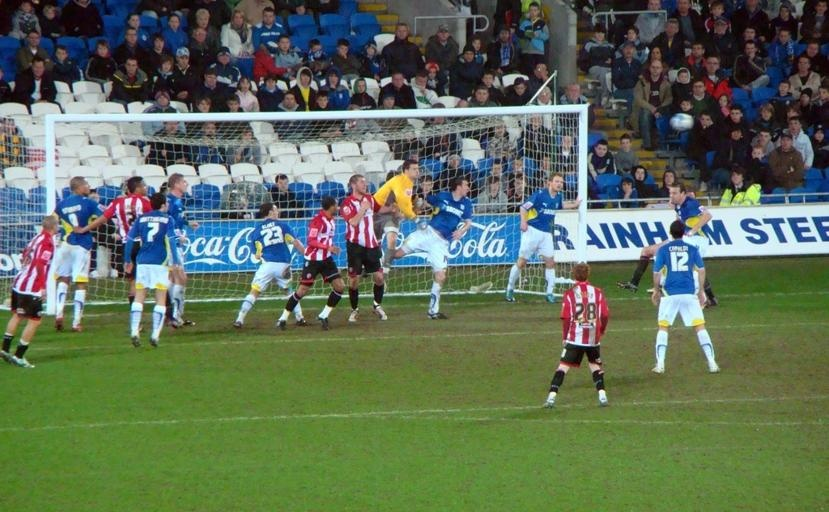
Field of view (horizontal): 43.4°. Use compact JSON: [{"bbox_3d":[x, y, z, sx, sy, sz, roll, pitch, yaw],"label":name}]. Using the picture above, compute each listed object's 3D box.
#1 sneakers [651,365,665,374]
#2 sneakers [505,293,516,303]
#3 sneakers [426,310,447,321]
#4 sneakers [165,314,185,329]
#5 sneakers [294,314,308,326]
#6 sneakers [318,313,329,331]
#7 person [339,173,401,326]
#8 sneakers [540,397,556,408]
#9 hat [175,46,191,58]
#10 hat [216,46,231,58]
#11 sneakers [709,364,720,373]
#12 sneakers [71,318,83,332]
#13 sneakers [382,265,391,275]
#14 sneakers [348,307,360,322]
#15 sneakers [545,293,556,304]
[{"bbox_3d":[4.371,1.979,18.633,0.251,0.157,0.193,-4,10,-9],"label":"sneakers"},{"bbox_3d":[2.156,0.880,23.269,0.267,0.242,0.154,-7,19,-22],"label":"sneakers"},{"bbox_3d":[0.452,1.200,21.781,0.431,0.179,0.151,2,8,-11],"label":"sneakers"},{"bbox_3d":[-4.922,1.321,21.364,0.332,0.208,0.167,-8,11,-40],"label":"sneakers"},{"bbox_3d":[-2.361,1.317,21.551,0.229,0.212,0.148,11,-18,-39],"label":"sneakers"},{"bbox_3d":[-1.852,1.303,21.133,0.169,0.332,0.127,-20,-6,3],"label":"sneakers"},{"bbox_3d":[-1.080,-0.164,21.506,0.802,3.036,1.063,-3,10,-2],"label":"person"},{"bbox_3d":[2.279,2.429,17.611,0.108,0.133,0.285,3,6,-7],"label":"sneakers"},{"bbox_3d":[-6.030,-5.249,27.048,0.276,0.273,0.315,2,7,-16],"label":"hat"},{"bbox_3d":[-5.027,-5.325,27.426,0.315,0.305,0.406,3,-13,-10],"label":"hat"},{"bbox_3d":[5.357,1.966,18.581,0.132,0.175,0.193,0,0,23],"label":"sneakers"},{"bbox_3d":[-6.835,1.363,21.145,0.242,0.289,0.213,5,10,11],"label":"sneakers"},{"bbox_3d":[-0.608,0.283,22.564,0.185,0.151,0.211,2,6,1],"label":"sneakers"},{"bbox_3d":[-1.273,1.209,21.804,0.194,0.277,0.289,11,-8,4],"label":"sneakers"},{"bbox_3d":[3.038,0.901,23.202,0.260,0.242,0.159,-2,10,8],"label":"sneakers"}]
